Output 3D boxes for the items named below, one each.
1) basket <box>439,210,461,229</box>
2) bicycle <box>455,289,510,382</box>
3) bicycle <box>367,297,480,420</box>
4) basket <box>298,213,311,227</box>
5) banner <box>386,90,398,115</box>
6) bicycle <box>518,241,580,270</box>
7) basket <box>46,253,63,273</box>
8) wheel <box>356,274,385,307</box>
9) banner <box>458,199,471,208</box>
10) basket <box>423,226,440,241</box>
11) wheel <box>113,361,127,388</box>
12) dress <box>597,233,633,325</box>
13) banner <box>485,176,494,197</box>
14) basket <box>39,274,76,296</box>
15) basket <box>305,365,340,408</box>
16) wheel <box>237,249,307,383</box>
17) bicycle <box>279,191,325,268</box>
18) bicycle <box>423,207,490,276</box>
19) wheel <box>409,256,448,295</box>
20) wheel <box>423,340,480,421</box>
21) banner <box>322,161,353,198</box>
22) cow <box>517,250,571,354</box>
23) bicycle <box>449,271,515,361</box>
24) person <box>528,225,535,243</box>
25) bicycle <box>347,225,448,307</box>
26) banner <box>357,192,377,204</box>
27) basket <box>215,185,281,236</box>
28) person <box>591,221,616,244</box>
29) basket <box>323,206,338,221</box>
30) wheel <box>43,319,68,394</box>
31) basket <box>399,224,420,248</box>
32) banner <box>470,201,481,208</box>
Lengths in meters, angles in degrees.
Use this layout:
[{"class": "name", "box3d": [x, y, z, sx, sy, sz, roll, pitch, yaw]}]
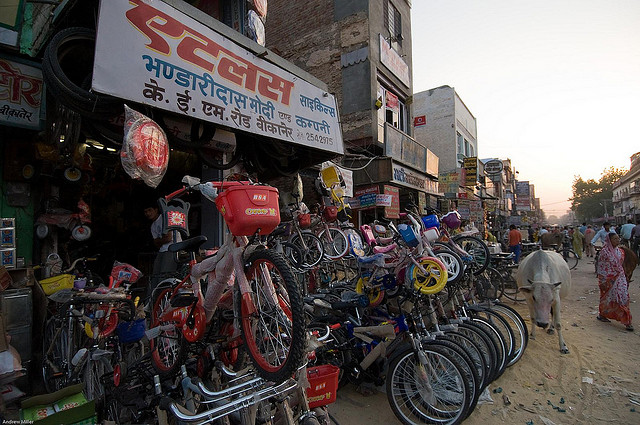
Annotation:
[{"class": "basket", "box3d": [2.802, 0.169, 9.812, 0.375, 0.322, 0.370, -35, -9, 11]}, {"class": "bicycle", "box3d": [3.099, 2.267, 8.344, 1.146, 1.542, 0.442, -1, -31, -44]}, {"class": "bicycle", "box3d": [1.529, 2.375, 7.392, 2.306, 1.566, 1.185, -6, -14, 34]}, {"class": "basket", "box3d": [-0.363, 0.213, 10.707, 0.377, 0.364, 0.224, 5, -12, -42]}, {"class": "banner", "box3d": [2.702, -4.181, 17.234, 0.215, 0.704, 0.993, -5, -6, 27]}, {"class": "bicycle", "box3d": [10.020, 1.666, 19.079, 0.804, 0.936, 1.426, -14, 5, -23]}, {"class": "basket", "box3d": [-5.037, 0.966, 8.548, 0.071, 0.471, 0.295, -16, -5, 36]}, {"class": "wheel", "box3d": [0.909, 1.425, 8.152, 0.554, 0.610, 0.093, 2, 3, 41]}, {"class": "banner", "box3d": [8.357, -0.499, 26.530, 0.587, 0.429, 1.125, -5, -6, 21]}, {"class": "basket", "box3d": [2.011, 0.391, 8.219, 0.223, 0.171, 0.232, -19, -22, 27]}, {"class": "wheel", "box3d": [-2.870, 2.342, 6.496, 0.097, 0.318, 0.296, -1, -14, -40]}, {"class": "dress", "box3d": [6.931, 1.575, 10.787, 0.612, 2.153, 0.406, -5, -5, 32]}, {"class": "banner", "box3d": [14.273, -2.022, 38.106, 0.260, 1.500, 4.726, -4, -6, 25]}, {"class": "basket", "box3d": [-4.717, 1.300, 8.137, 0.663, 0.350, 0.229, -3, -5, 7]}, {"class": "basket", "box3d": [-0.064, 2.539, 6.541, 0.569, 0.423, 0.309, 6, -8, -40]}, {"class": "wheel", "box3d": [-0.647, 1.359, 6.066, 0.986, 1.735, 0.441, -6, -6, 38]}, {"class": "bicycle", "box3d": [-0.412, 0.586, 11.009, 1.436, 1.597, 2.451, 5, -5, -12]}, {"class": "bicycle", "box3d": [2.708, 0.793, 10.025, 1.753, 1.180, 1.056, -17, -6, 22]}, {"class": "wheel", "box3d": [1.844, 1.097, 7.870, 0.574, 0.636, 0.123, -4, -17, 18]}, {"class": "wheel", "box3d": [2.223, 2.735, 7.558, 1.060, 1.185, 1.125, -1, -6, 0]}, {"class": "banner", "box3d": [0.460, -0.999, 12.622, 0.855, 1.137, 2.575, -3, -5, 3]}, {"class": "cow", "box3d": [4.956, 1.906, 9.989, 0.958, 2.138, 1.697, -5, -5, 28]}, {"class": "bicycle", "box3d": [3.090, 2.169, 8.861, 0.727, 0.606, 1.224, -40, 3, 19]}, {"class": "person", "box3d": [11.253, 1.158, 24.255, 0.303, 0.743, 1.861, -5, -6, 25]}, {"class": "bicycle", "box3d": [1.276, 0.933, 8.175, 1.907, 1.416, 1.021, -17, -11, 37]}, {"class": "banner", "box3d": [1.663, -0.482, 15.675, 0.270, 0.386, 0.808, 1, -7, -39]}, {"class": "basket", "box3d": [-0.952, 0.027, 6.359, 0.913, 0.578, 0.660, 3, -33, -35]}, {"class": "person", "box3d": [11.642, 0.798, 18.703, 0.868, 1.421, 0.411, 1, 0, -10]}, {"class": "basket", "box3d": [0.292, 0.063, 11.123, 0.276, 0.438, 0.442, -12, -13, 41]}, {"class": "wheel", "box3d": [-4.283, 2.337, 7.351, 0.299, 1.212, 1.121, 1, -13, -40]}, {"class": "basket", "box3d": [1.596, 0.420, 8.096, 0.223, 0.387, 0.206, -32, -17, 22]}, {"class": "banner", "box3d": [8.956, -0.434, 26.222, 0.391, 0.429, 0.859, -1, -6, -20]}]
